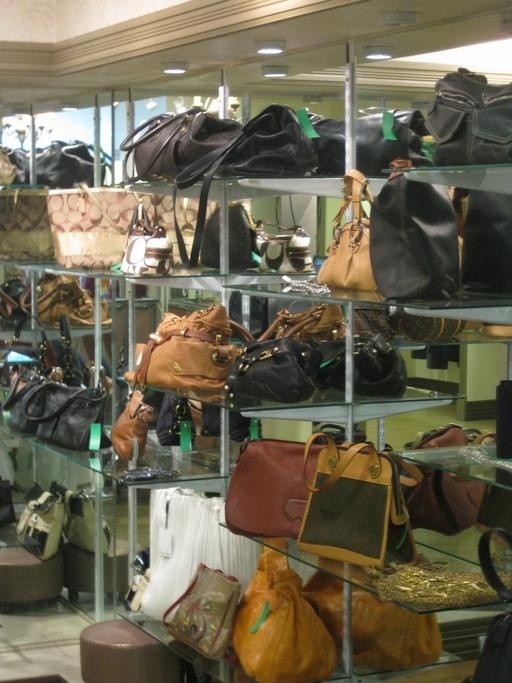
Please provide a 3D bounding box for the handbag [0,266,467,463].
[{"bbox_3d":[-0.115,0.091,2.079,1.585,0.526,1.152,1,0,31],"label":"handbag"}]

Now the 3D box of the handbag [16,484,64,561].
[{"bbox_3d":[-1.173,1.010,3.314,0.164,0.285,0.281,9,-37,-30],"label":"handbag"}]

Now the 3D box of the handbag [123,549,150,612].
[{"bbox_3d":[-0.513,1.052,2.660,0.089,0.229,0.173,12,-10,-28],"label":"handbag"}]

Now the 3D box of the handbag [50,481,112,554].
[{"bbox_3d":[-0.884,0.992,3.401,0.385,0.332,0.266,3,-1,-40],"label":"handbag"}]
